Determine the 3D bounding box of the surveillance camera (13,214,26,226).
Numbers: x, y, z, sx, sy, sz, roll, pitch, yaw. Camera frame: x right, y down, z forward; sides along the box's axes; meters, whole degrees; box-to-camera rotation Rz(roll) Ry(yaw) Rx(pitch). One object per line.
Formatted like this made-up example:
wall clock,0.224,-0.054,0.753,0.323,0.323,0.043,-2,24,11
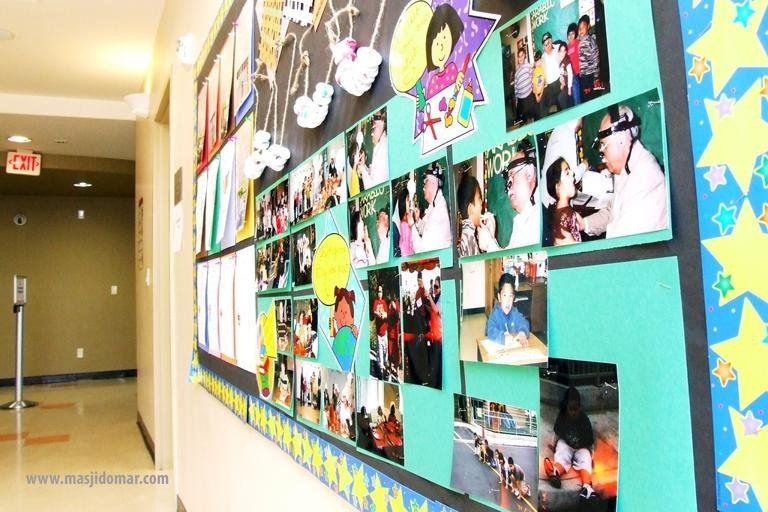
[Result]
surveillance camera,-4.450,-0.453,7.213,0.118,0.133,0.041,0,-13,-29

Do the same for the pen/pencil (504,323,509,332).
pen/pencil,0.157,0.090,0.749,0.005,0.011,0.002,0,0,12
